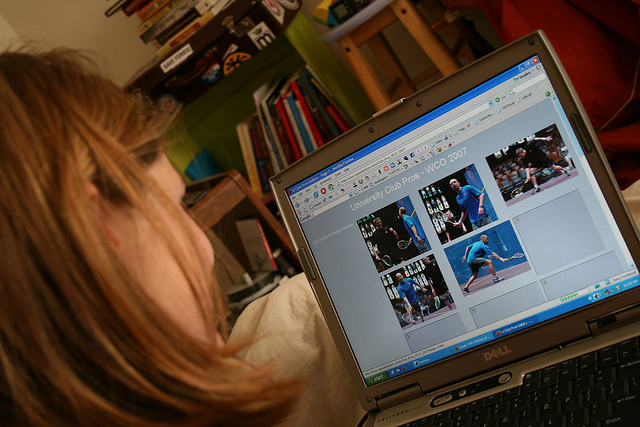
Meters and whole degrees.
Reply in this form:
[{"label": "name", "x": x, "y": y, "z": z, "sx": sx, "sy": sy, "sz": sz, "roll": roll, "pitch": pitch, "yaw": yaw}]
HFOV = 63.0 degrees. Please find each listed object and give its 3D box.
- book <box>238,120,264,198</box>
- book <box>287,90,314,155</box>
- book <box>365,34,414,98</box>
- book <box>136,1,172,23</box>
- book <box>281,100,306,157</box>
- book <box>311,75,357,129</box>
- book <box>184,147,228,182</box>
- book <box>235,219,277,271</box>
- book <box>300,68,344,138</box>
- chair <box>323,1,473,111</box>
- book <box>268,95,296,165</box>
[{"label": "book", "x": -0.244, "y": -0.207, "z": 1.885, "sx": 0.036, "sy": 0.282, "sz": 0.236, "roll": -17, "pitch": 16, "yaw": 4}, {"label": "book", "x": -0.065, "y": -0.316, "z": 1.855, "sx": 0.045, "sy": 0.201, "sz": 0.197, "roll": -16, "pitch": -42, "yaw": 5}, {"label": "book", "x": 0.266, "y": -0.537, "z": 1.913, "sx": 0.081, "sy": 0.203, "sz": 0.146, "roll": -24, "pitch": -11, "yaw": 26}, {"label": "book", "x": -0.543, "y": -0.670, "z": 1.706, "sx": 0.071, "sy": 0.018, "sz": 0.072, "roll": -37, "pitch": 20, "yaw": 1}, {"label": "book", "x": -0.095, "y": -0.307, "z": 1.853, "sx": 0.034, "sy": 0.152, "sz": 0.153, "roll": -17, "pitch": -52, "yaw": -1}, {"label": "book", "x": 0.067, "y": -0.365, "z": 1.812, "sx": 0.040, "sy": 0.168, "sz": 0.168, "roll": -37, "pitch": -44, "yaw": 0}, {"label": "book", "x": -0.448, "y": -0.188, "z": 2.028, "sx": 0.079, "sy": 0.129, "sz": 0.188, "roll": -24, "pitch": -10, "yaw": 21}, {"label": "book", "x": -0.185, "y": 0.095, "z": 1.523, "sx": 0.072, "sy": 0.167, "sz": 0.135, "roll": -19, "pitch": -10, "yaw": -6}, {"label": "book", "x": 0.007, "y": -0.377, "z": 1.815, "sx": 0.045, "sy": 0.204, "sz": 0.197, "roll": -25, "pitch": 30, "yaw": 2}, {"label": "chair", "x": 0.236, "y": -0.502, "z": 1.628, "sx": 0.283, "sy": 0.419, "sz": 0.307, "roll": -30, "pitch": 27, "yaw": 6}, {"label": "book", "x": -0.138, "y": -0.297, "z": 1.886, "sx": 0.045, "sy": 0.206, "sz": 0.205, "roll": -16, "pitch": -49, "yaw": 4}]
